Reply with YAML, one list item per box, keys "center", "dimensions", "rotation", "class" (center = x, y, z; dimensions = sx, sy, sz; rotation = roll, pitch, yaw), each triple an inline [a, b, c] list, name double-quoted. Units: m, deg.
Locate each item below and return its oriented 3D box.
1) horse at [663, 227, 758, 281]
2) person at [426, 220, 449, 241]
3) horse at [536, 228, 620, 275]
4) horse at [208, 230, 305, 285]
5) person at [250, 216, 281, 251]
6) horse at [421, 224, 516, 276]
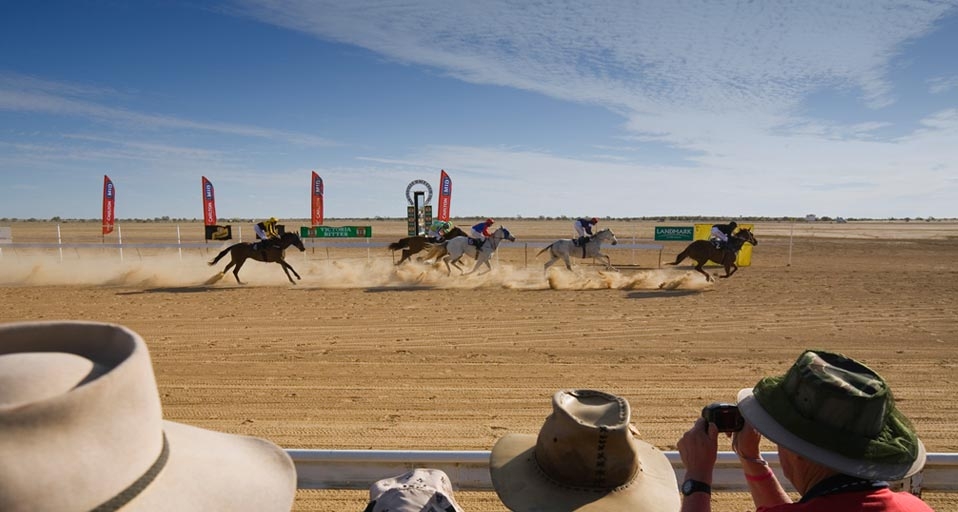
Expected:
- center: [9.971, -0.074, 31.637]
  dimensions: [3.606, 2.275, 0.990]
  rotation: [0, -3, 27]
  class: "horse"
- center: [-1.979, -1.159, 34.647]
  dimensions: [0.697, 1.109, 0.492]
  rotation: [35, 10, 37]
  class: "person"
- center: [4.484, -0.269, 32.844]
  dimensions: [2.559, 1.994, 3.124]
  rotation: [3, 7, 12]
  class: "horse"
- center: [-9.205, 0.143, 30.909]
  dimensions: [4.022, 2.124, 0.829]
  rotation: [0, 0, 3]
  class: "horse"
- center: [-8.795, -0.903, 30.760]
  dimensions: [0.888, 1.276, 0.527]
  rotation: [-1, 7, -17]
  class: "person"
- center: [-0.435, -0.332, 33.066]
  dimensions: [3.081, 2.130, 3.655]
  rotation: [0, 7, -8]
  class: "horse"
